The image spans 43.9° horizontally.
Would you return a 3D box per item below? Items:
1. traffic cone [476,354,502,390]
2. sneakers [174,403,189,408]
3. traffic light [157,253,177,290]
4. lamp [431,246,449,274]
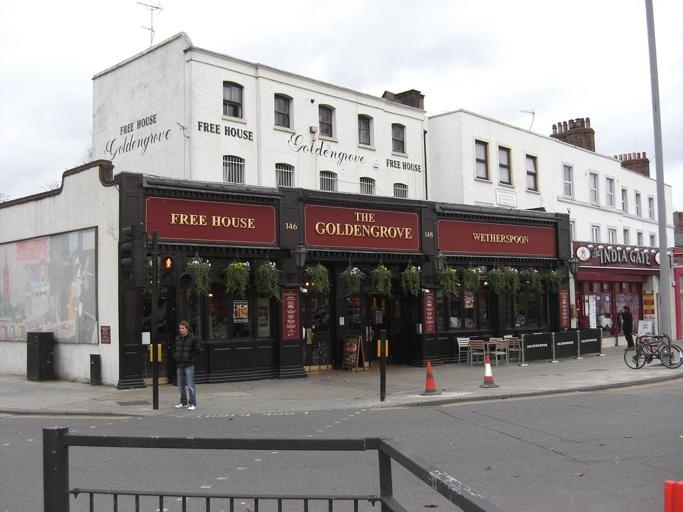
[{"bbox_3d":[4.283,3.337,24.554,0.831,1.141,0.873,-2,-6,-1],"label":"traffic cone"},{"bbox_3d":[-4.143,3.888,21.883,0.343,0.161,0.141,3,-7,6],"label":"sneakers"},{"bbox_3d":[-4.666,0.383,22.633,0.428,0.893,0.606,-1,-8,-12],"label":"traffic light"},{"bbox_3d":[3.601,0.158,31.134,0.682,1.293,0.716,1,-7,17],"label":"lamp"}]
